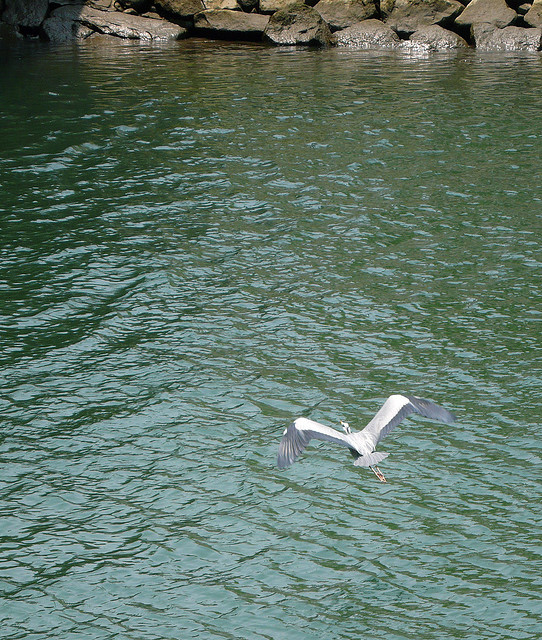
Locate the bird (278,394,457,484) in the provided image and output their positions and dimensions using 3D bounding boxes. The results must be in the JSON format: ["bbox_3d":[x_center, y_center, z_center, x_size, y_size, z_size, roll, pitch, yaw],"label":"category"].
[{"bbox_3d":[1.362,1.734,17.353,2.803,0.614,0.896,-15,38,-23],"label":"bird"}]
